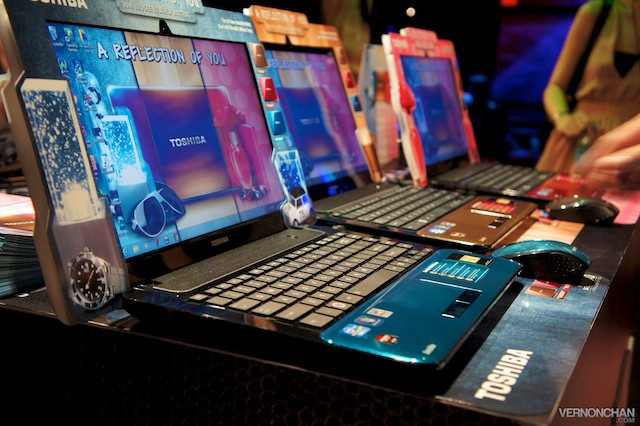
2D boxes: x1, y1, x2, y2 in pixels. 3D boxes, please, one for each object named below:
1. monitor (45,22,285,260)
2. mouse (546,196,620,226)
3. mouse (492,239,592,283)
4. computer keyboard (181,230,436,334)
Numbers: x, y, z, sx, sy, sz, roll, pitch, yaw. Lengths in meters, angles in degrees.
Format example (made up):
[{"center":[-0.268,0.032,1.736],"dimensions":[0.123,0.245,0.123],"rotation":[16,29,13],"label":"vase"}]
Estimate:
[{"center":[-0.332,-0.186,1.077],"dimensions":[0.055,0.572,0.730],"rotation":[-1,16,23],"label":"monitor"},{"center":[0.825,-0.009,1.384],"dimensions":[0.188,0.053,0.098],"rotation":[5,26,27],"label":"mouse"},{"center":[0.533,0.095,1.057],"dimensions":[0.222,0.066,0.132],"rotation":[3,18,33],"label":"mouse"},{"center":[0.031,0.132,1.033],"dimensions":[0.393,0.024,0.696],"rotation":[7,11,27],"label":"computer keyboard"}]
